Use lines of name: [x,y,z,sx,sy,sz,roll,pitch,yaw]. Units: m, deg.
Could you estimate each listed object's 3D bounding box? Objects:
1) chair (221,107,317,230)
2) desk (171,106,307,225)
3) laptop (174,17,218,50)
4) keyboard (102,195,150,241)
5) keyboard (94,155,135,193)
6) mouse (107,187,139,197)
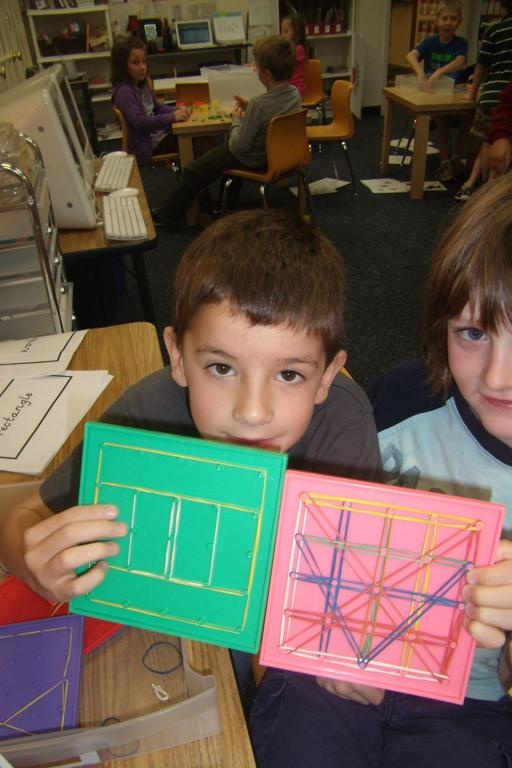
chair: [0.071,-1.517,3.906,0.452,0.756,0.471,-34,50,-31]
desk: [0.069,-1.529,3.899,0.547,0.737,0.547,-26,45,-27]
laptop: [-0.668,-3.929,6.280,0.394,0.300,0.030,-6,14,-14]
keyboard: [-0.494,-0.626,2.122,0.099,0.032,0.310,-5,37,-10]
keyboard: [-0.672,-1.003,2.683,0.132,0.045,0.429,-9,37,4]
mouse: [-0.569,-0.824,2.401,0.113,0.027,0.061,-4,42,-1]
